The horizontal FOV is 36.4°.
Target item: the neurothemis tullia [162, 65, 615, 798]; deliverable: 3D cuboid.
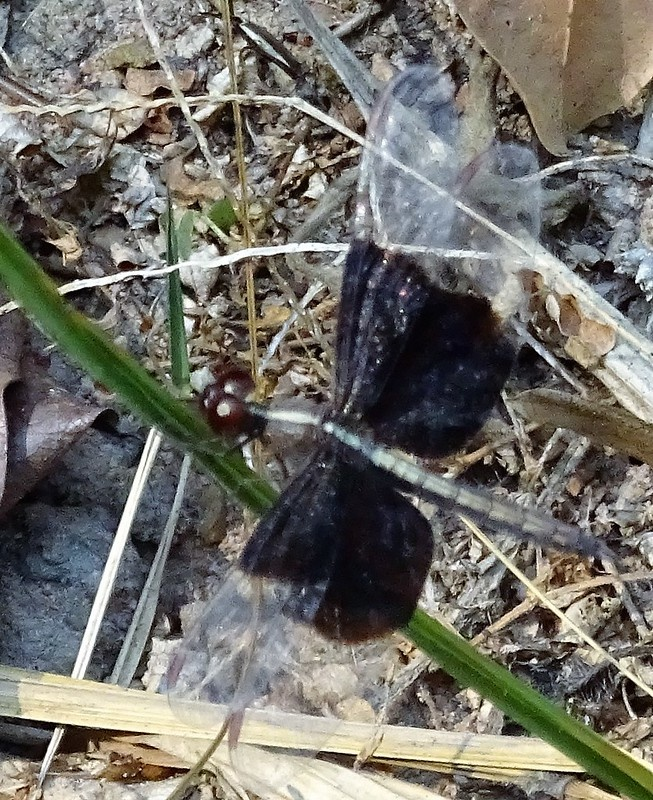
[{"bbox_3d":[-0.005,0.075,1.152,0.580,0.237,0.514,-35,75,-15],"label":"neurothemis tullia"}]
